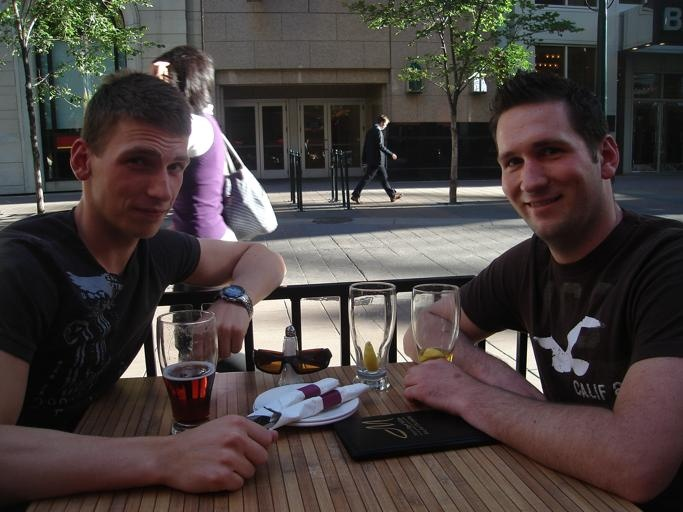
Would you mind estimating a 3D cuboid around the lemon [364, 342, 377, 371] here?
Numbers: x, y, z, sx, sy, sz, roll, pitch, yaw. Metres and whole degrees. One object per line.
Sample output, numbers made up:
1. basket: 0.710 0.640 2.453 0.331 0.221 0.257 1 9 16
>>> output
1. lemon: 0.094 0.362 1.992 0.046 0.100 0.030 1 20 3
